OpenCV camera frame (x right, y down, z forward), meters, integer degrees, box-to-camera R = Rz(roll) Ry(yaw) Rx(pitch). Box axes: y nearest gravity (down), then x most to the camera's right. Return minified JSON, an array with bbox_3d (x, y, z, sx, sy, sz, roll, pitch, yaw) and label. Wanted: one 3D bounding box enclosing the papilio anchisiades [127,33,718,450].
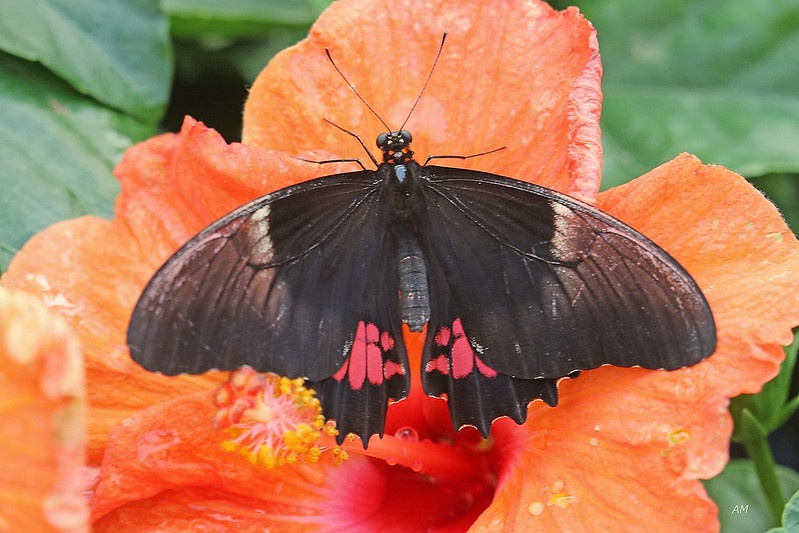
[{"bbox_3d":[0.122,-0.114,2.427,1.609,1.188,0.731,-2,-67,-8],"label":"papilio anchisiades"}]
